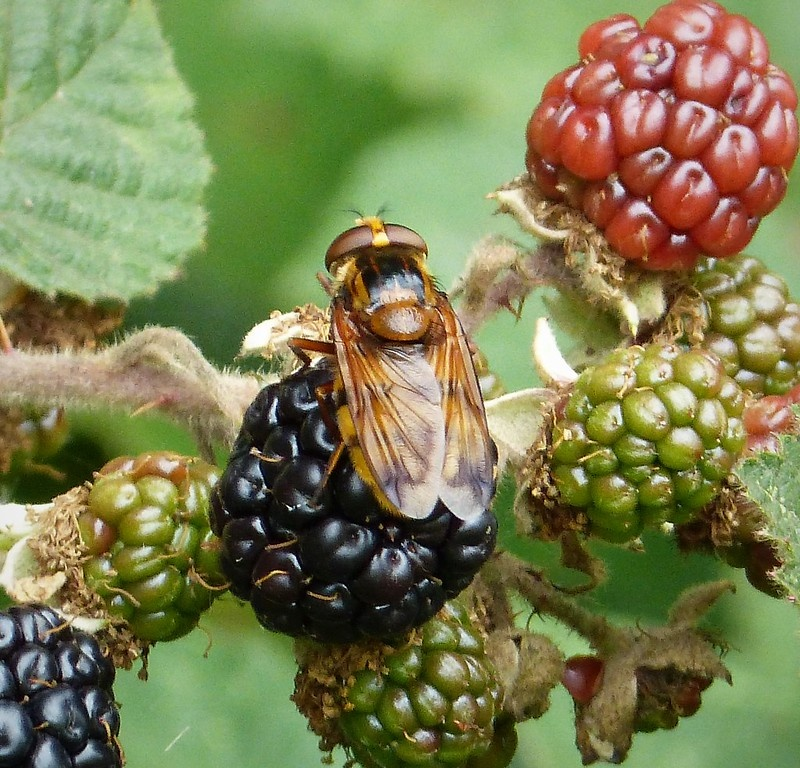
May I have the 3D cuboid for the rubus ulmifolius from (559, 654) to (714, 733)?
[{"bbox_3d":[0.398,0.525,2.084,0.240,0.103,0.080,15,36,5],"label":"rubus ulmifolius"}]

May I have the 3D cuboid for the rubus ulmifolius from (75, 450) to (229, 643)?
[{"bbox_3d":[-0.429,0.266,2.057,0.261,0.197,0.329,17,49,-3],"label":"rubus ulmifolius"}]

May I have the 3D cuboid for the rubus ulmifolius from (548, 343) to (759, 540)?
[{"bbox_3d":[0.419,0.106,2.083,0.302,0.316,0.239,22,38,14],"label":"rubus ulmifolius"}]
